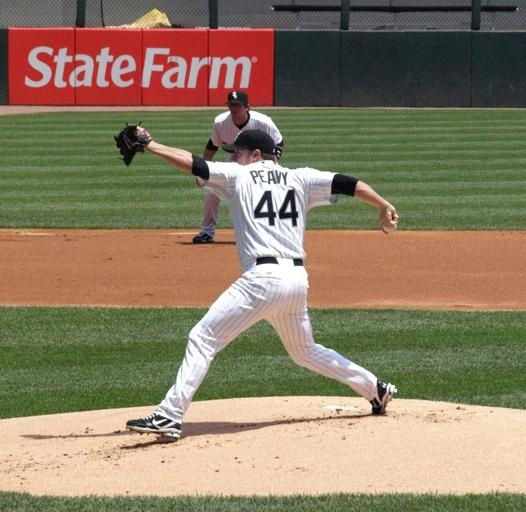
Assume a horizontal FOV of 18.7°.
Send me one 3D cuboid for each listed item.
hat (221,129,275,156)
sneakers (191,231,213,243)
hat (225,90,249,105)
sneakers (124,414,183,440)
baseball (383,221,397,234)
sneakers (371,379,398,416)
[{"bbox_3d":[-0.118,-1.163,16.976,0.390,0.215,0.276,3,4,-1],"label":"hat"},{"bbox_3d":[-0.880,-0.226,22.269,0.318,0.154,0.125,1,5,-7],"label":"sneakers"},{"bbox_3d":[-0.345,-2.017,20.973,0.261,0.187,0.462,2,5,-1],"label":"hat"},{"bbox_3d":[-1.179,1.792,16.698,0.608,0.312,0.230,14,-8,-8],"label":"sneakers"},{"bbox_3d":[1.351,-0.273,16.935,0.113,0.115,0.095,11,13,25],"label":"baseball"},{"bbox_3d":[1.291,1.538,17.133,0.206,0.170,0.488,19,-32,8],"label":"sneakers"}]
